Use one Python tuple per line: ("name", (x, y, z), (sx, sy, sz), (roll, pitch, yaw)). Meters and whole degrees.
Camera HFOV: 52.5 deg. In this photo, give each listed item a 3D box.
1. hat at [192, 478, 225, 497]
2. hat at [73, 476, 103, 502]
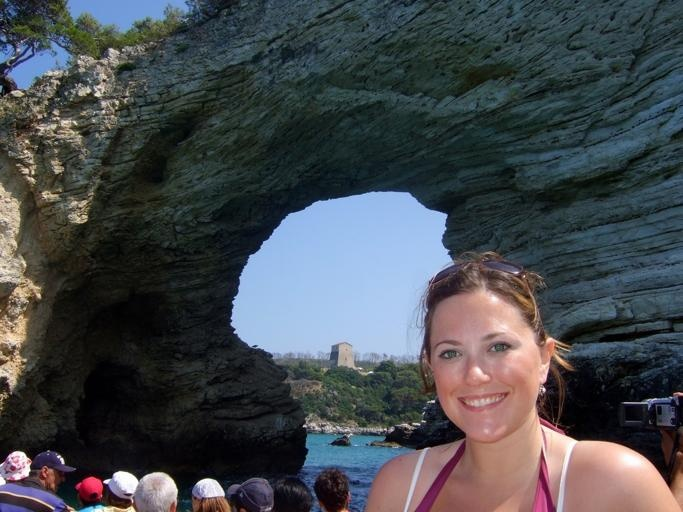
("hat", (-1.768, 3.259, 9.644), (0.447, 0.125, 0.296), (6, -7, -37))
("hat", (-3.480, 3.219, 9.570), (0.385, 0.239, 0.518), (9, 4, -32))
